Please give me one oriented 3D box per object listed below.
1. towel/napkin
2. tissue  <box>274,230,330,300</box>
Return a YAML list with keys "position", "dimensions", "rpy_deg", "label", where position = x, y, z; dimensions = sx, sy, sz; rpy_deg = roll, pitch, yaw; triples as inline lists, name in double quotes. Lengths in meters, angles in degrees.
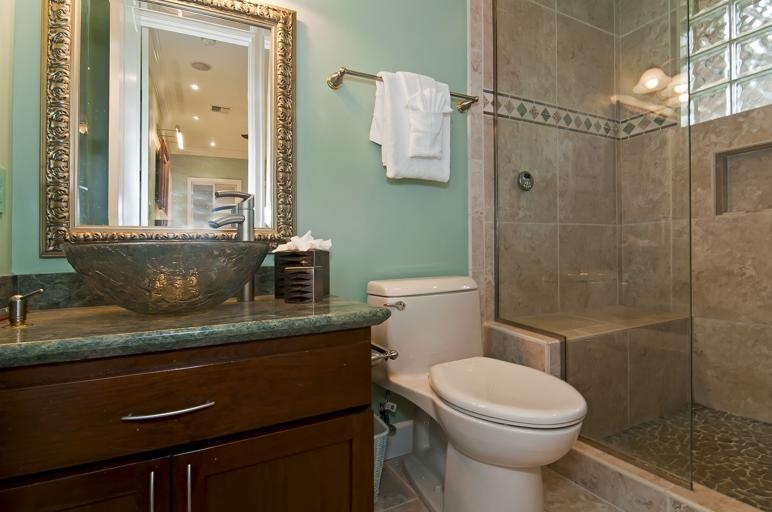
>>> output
- position: [0.136, -0.669, 2.946]
  dimensions: [0.541, 0.523, 0.192]
  rpy_deg: [0, 0, -24]
  label: "towel/napkin"
- position: [-0.377, 0.046, 2.481]
  dimensions: [0.292, 0.326, 0.296]
  rpy_deg: [0, -3, -23]
  label: "tissue "
